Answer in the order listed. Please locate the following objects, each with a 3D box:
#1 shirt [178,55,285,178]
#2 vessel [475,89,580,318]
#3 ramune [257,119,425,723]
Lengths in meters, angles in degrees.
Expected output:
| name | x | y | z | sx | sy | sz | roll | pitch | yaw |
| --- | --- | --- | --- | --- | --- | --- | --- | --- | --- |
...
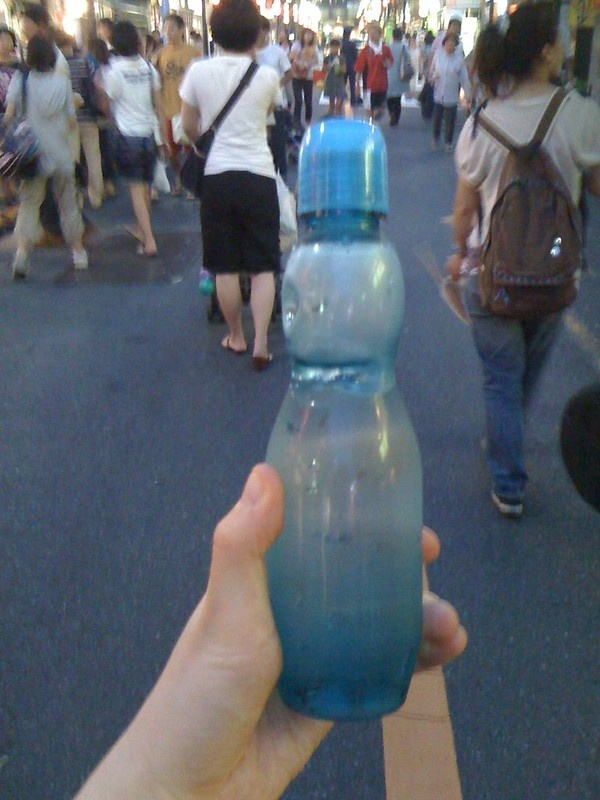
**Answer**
| name | x | y | z | sx | sy | sz | roll | pitch | yaw |
| --- | --- | --- | --- | --- | --- | --- | --- | --- | --- |
| shirt | -0.408 | -1.704 | 3.684 | 0.620 | 0.688 | 0.271 | -9 | 25 | -15 |
| vessel | 0.825 | -0.664 | 2.187 | 0.289 | 0.802 | 0.383 | -10 | 20 | -8 |
| ramune | 0.050 | 0.037 | 0.705 | 0.192 | 0.619 | 0.258 | -3 | 24 | -6 |
